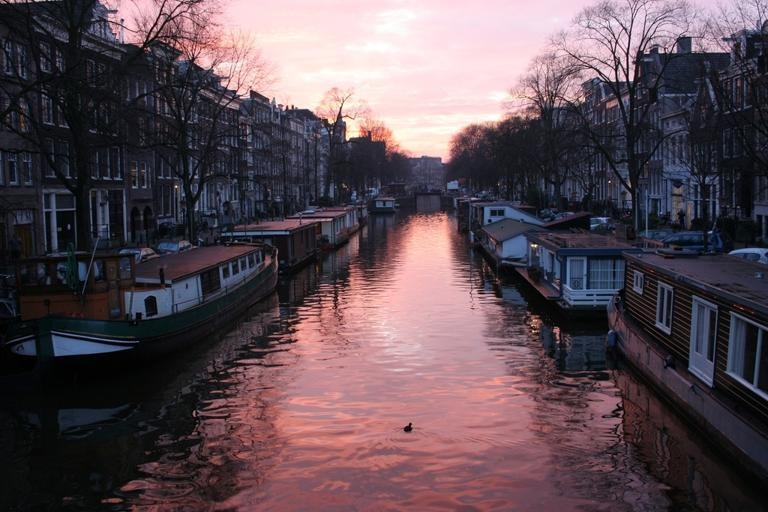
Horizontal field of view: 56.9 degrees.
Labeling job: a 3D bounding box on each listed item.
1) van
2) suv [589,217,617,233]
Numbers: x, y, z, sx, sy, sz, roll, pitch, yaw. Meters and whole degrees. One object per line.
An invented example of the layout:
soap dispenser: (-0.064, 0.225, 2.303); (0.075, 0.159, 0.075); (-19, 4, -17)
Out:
van: (-11.628, 0.540, 25.188); (1.974, 0.766, 1.635); (0, 5, 15)
suv: (16.499, -2.330, 53.896); (1.491, 1.348, 2.575); (1, 16, 6)
